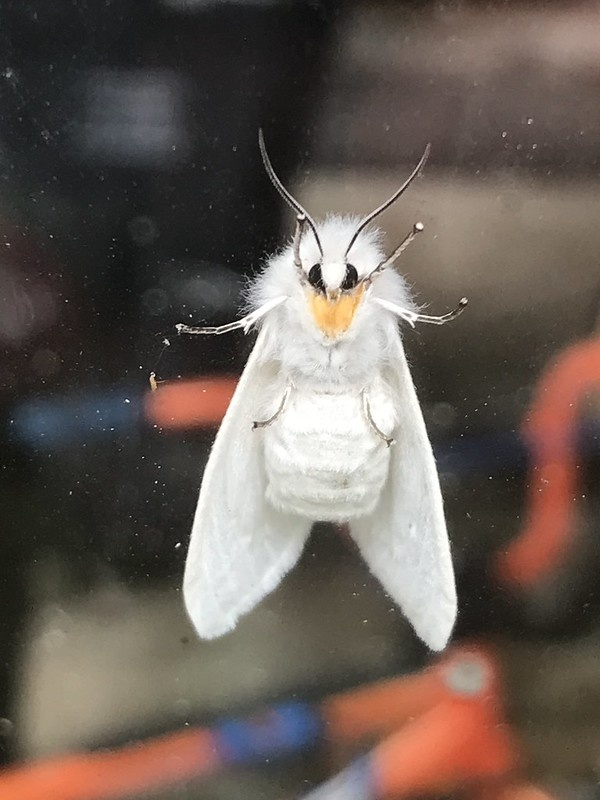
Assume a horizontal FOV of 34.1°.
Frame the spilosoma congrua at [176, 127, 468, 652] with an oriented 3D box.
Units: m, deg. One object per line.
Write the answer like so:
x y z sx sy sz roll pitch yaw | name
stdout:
0.029 -0.003 1.352 0.466 0.167 0.650 2 96 2 | spilosoma congrua
